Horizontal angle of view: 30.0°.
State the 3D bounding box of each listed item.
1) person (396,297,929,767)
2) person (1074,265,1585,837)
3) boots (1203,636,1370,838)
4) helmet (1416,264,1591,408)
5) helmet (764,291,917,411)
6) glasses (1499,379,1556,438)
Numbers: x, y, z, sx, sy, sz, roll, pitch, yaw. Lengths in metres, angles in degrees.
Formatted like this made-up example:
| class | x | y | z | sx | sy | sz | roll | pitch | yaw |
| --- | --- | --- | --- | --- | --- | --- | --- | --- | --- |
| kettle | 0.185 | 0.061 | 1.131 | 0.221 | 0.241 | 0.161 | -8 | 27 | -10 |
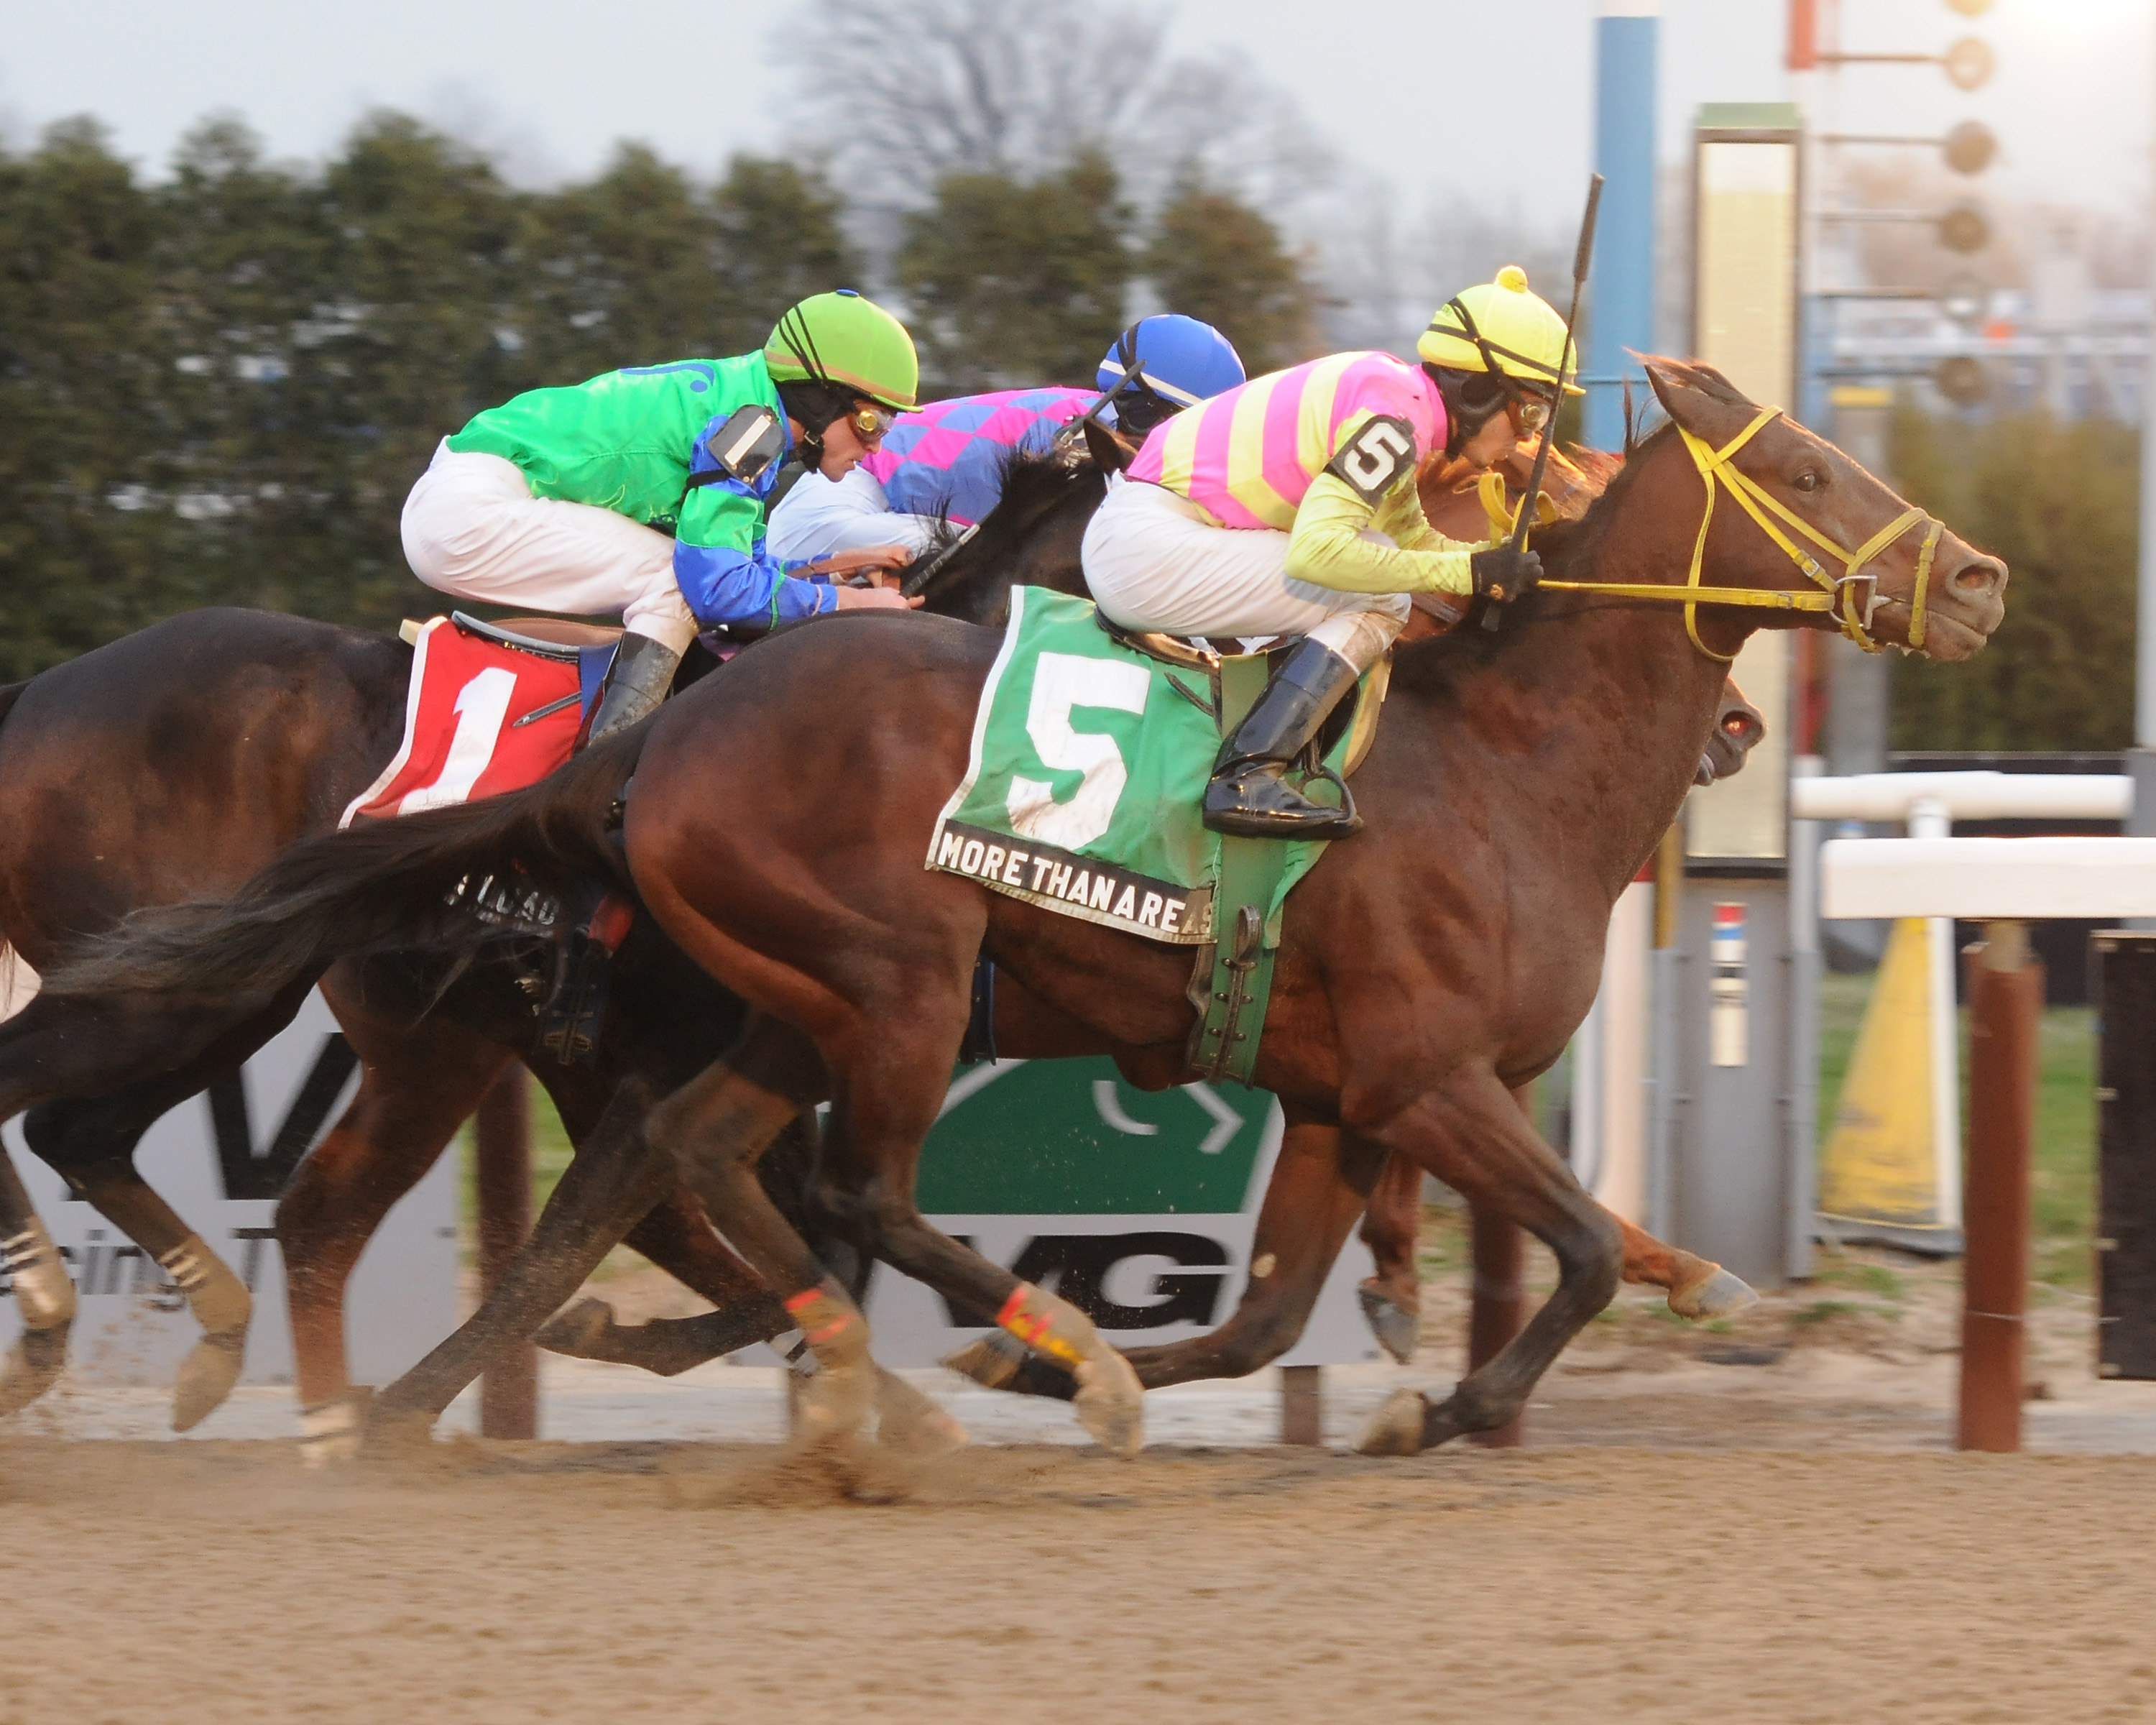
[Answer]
| class | x | y | z | sx | sy | sz | roll | pitch | yaw |
| --- | --- | --- | --- | --- | --- | --- | --- | --- | --- |
| person | -0.865 | -0.722 | 8.132 | 1.109 | 0.787 | 0.733 | -3 | 21 | -33 |
| person | 0.513 | -0.613 | 7.727 | 0.907 | 1.067 | 0.703 | -1 | 10 | -15 |
| boots | 0.393 | -0.237 | 7.549 | 0.275 | 0.351 | 0.249 | 2 | 10 | 2 |
| helmet | 0.862 | -1.062 | 7.800 | 0.335 | 0.174 | 0.232 | 19 | 32 | 31 |
| helmet | -0.449 | -1.021 | 8.116 | 0.281 | 0.255 | 0.202 | -21 | 11 | 16 |
| glasses | 0.875 | -0.886 | 7.835 | 0.102 | 0.079 | 0.034 | -1 | 24 | -28 |
